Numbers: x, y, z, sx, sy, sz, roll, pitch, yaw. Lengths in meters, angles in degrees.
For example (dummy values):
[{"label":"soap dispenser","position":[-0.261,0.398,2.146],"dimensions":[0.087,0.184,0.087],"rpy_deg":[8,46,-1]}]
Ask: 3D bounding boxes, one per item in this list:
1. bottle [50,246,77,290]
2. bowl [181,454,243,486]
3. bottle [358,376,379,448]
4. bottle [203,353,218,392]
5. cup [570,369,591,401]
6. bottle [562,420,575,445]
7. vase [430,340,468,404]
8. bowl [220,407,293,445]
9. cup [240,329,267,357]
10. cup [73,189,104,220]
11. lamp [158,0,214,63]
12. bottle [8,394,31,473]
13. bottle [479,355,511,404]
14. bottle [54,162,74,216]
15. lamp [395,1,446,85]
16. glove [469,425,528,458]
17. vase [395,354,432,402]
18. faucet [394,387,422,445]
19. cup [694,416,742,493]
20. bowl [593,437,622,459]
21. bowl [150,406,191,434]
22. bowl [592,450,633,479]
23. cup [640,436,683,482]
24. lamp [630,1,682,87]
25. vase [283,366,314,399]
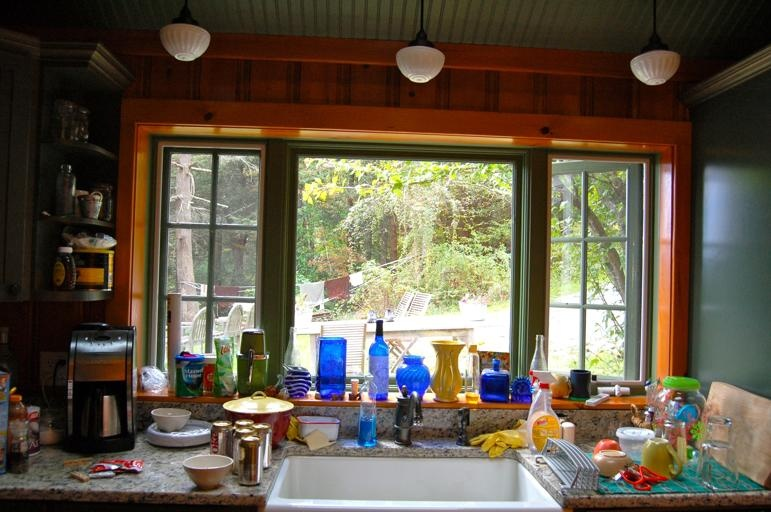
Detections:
[{"label":"bottle","position":[-1.613,0.059,3.243],"dimensions":[0.109,0.208,0.075],"rpy_deg":[1,-2,-23]},{"label":"bowl","position":[-0.801,0.990,2.945],"dimensions":[0.237,0.138,0.158],"rpy_deg":[1,-2,-25]},{"label":"bottle","position":[-0.093,0.826,3.426],"dimensions":[0.098,0.341,0.165],"rpy_deg":[0,-2,-2]},{"label":"bottle","position":[-0.955,0.654,3.498],"dimensions":[0.065,0.204,0.032],"rpy_deg":[1,-2,-10]},{"label":"cup","position":[1.116,0.715,3.595],"dimensions":[0.185,0.154,0.094],"rpy_deg":[1,-2,-37]},{"label":"bottle","position":[0.930,0.906,3.279],"dimensions":[0.060,0.100,0.069],"rpy_deg":[0,-2,17]},{"label":"vase","position":[0.339,0.637,3.516],"dimensions":[0.298,0.386,0.285],"rpy_deg":[2,-8,-4]},{"label":"bowl","position":[-0.646,0.878,3.319],"dimensions":[0.324,0.150,0.298],"rpy_deg":[1,-19,0]},{"label":"cup","position":[-0.705,0.470,3.462],"dimensions":[0.141,0.120,0.134],"rpy_deg":[1,-6,0]},{"label":"cup","position":[-1.530,-0.261,3.320],"dimensions":[0.159,0.157,0.151],"rpy_deg":[1,-3,0]},{"label":"lamp","position":[-0.958,-1.072,3.079],"dimensions":[0.173,0.229,0.143],"rpy_deg":[0,-2,26]},{"label":"bottle","position":[-1.714,0.832,3.006],"dimensions":[0.087,0.346,0.102],"rpy_deg":[1,-2,-28]},{"label":"bottle","position":[0.601,0.703,3.511],"dimensions":[0.193,0.252,0.185],"rpy_deg":[1,-7,0]},{"label":"bottle","position":[-1.624,-0.338,3.266],"dimensions":[0.090,0.272,0.084],"rpy_deg":[0,-2,0]},{"label":"lamp","position":[0.183,-1.114,3.273],"dimensions":[0.224,0.513,0.433],"rpy_deg":[0,-2,4]},{"label":"glove","position":[0.615,0.955,3.365],"dimensions":[0.205,0.058,0.166],"rpy_deg":[-2,1,-28]},{"label":"vase","position":[0.161,0.658,3.543],"dimensions":[0.228,0.243,0.220],"rpy_deg":[-2,-6,16]},{"label":"faucet","position":[0.126,0.842,3.420],"dimensions":[0.150,0.307,0.240],"rpy_deg":[0,-2,1]},{"label":"cup","position":[1.567,0.924,3.014],"dimensions":[0.174,0.321,0.128],"rpy_deg":[0,-2,9]},{"label":"bowl","position":[1.094,0.944,3.193],"dimensions":[0.107,0.085,0.105],"rpy_deg":[0,-4,0]},{"label":"bowl","position":[-1.105,0.838,3.318],"dimensions":[0.139,0.063,0.138],"rpy_deg":[0,-4,0]},{"label":"bowl","position":[1.082,1.000,3.088],"dimensions":[0.179,0.113,0.090],"rpy_deg":[1,-2,-19]},{"label":"cup","position":[1.315,0.961,3.068],"dimensions":[0.142,0.175,0.217],"rpy_deg":[4,1,-34]},{"label":"lamp","position":[1.394,-1.115,3.335],"dimensions":[0.213,0.523,0.491],"rpy_deg":[0,-2,21]},{"label":"vase","position":[-0.488,0.692,3.592],"dimensions":[0.165,0.168,0.199],"rpy_deg":[0,-1,-6]}]
